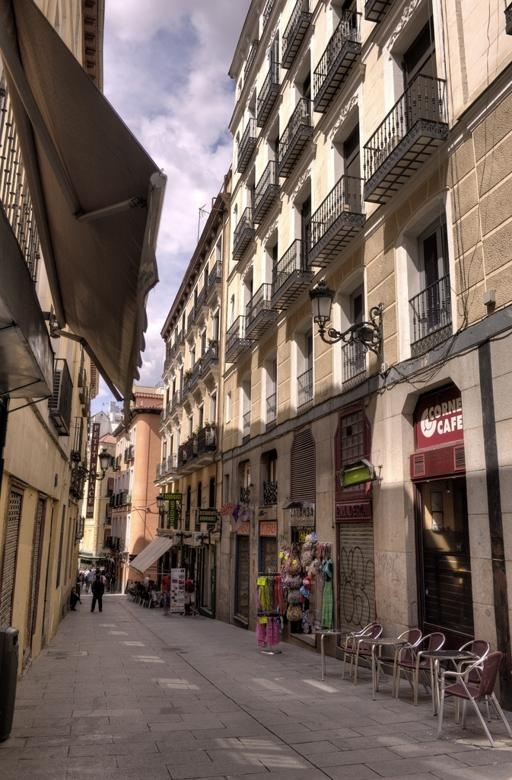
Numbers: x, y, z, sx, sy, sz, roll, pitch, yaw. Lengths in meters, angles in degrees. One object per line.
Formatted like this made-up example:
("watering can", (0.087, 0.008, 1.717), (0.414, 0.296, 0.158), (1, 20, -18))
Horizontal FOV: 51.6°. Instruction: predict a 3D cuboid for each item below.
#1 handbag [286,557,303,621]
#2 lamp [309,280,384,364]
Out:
("handbag", (0.919, 4.843, 12.904), (0.392, 1.426, 0.507), (0, -15, 4))
("lamp", (1.751, -1.372, 10.420), (1.321, 2.049, 0.612), (-2, -36, 11))
